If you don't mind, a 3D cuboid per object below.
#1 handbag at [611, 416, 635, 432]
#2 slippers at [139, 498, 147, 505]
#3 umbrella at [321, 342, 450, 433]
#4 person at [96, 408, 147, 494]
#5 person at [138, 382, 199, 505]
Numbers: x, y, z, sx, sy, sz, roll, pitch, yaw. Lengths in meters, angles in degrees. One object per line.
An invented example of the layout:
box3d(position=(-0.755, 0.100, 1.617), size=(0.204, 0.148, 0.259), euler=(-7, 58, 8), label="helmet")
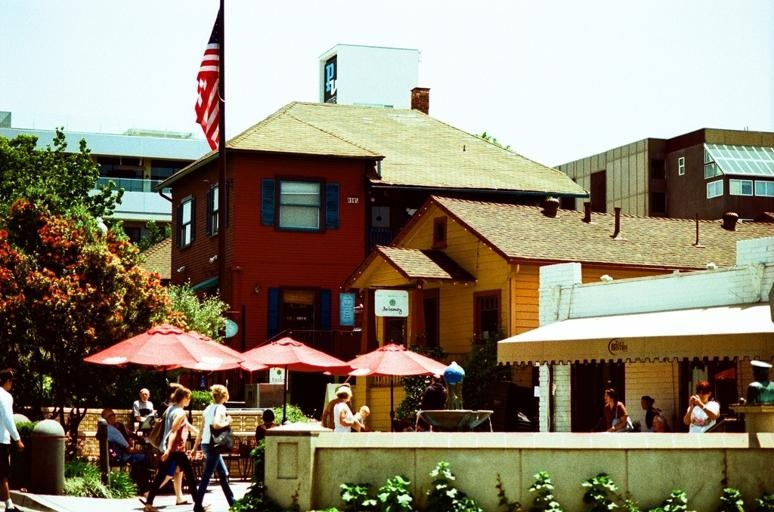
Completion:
box3d(position=(6.249, 4.368, 39.595), size=(0.571, 0.386, 2.321), euler=(-1, -8, 10), label="handbag")
box3d(position=(-5.680, 5.599, 34.732), size=(0.201, 0.070, 0.215), euler=(2, 7, -4), label="slippers")
box3d(position=(0.188, 2.873, 41.378), size=(2.139, 1.608, 2.075), euler=(1, 3, 23), label="umbrella")
box3d(position=(-6.536, 4.639, 36.899), size=(1.232, 2.116, 0.975), euler=(4, -4, -17), label="person")
box3d(position=(-4.943, 4.224, 34.287), size=(1.080, 2.908, 1.156), euler=(-2, -8, 15), label="person")
